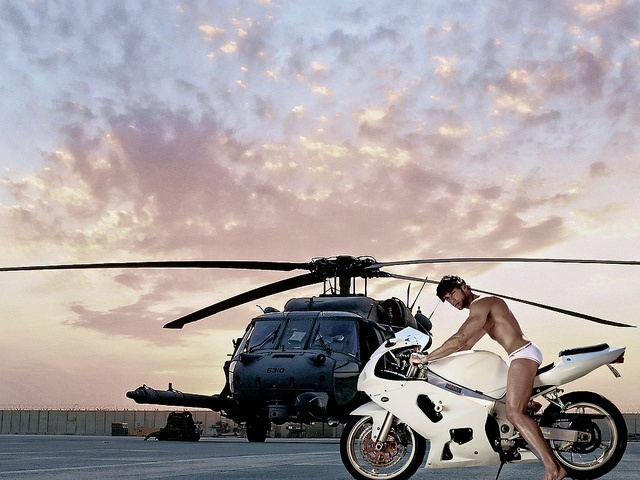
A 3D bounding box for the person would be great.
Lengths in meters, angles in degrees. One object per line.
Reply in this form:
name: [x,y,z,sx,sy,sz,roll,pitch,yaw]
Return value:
person: [1.781,1.396,6.212,0.857,2.102,0.927,-19,-32,36]
